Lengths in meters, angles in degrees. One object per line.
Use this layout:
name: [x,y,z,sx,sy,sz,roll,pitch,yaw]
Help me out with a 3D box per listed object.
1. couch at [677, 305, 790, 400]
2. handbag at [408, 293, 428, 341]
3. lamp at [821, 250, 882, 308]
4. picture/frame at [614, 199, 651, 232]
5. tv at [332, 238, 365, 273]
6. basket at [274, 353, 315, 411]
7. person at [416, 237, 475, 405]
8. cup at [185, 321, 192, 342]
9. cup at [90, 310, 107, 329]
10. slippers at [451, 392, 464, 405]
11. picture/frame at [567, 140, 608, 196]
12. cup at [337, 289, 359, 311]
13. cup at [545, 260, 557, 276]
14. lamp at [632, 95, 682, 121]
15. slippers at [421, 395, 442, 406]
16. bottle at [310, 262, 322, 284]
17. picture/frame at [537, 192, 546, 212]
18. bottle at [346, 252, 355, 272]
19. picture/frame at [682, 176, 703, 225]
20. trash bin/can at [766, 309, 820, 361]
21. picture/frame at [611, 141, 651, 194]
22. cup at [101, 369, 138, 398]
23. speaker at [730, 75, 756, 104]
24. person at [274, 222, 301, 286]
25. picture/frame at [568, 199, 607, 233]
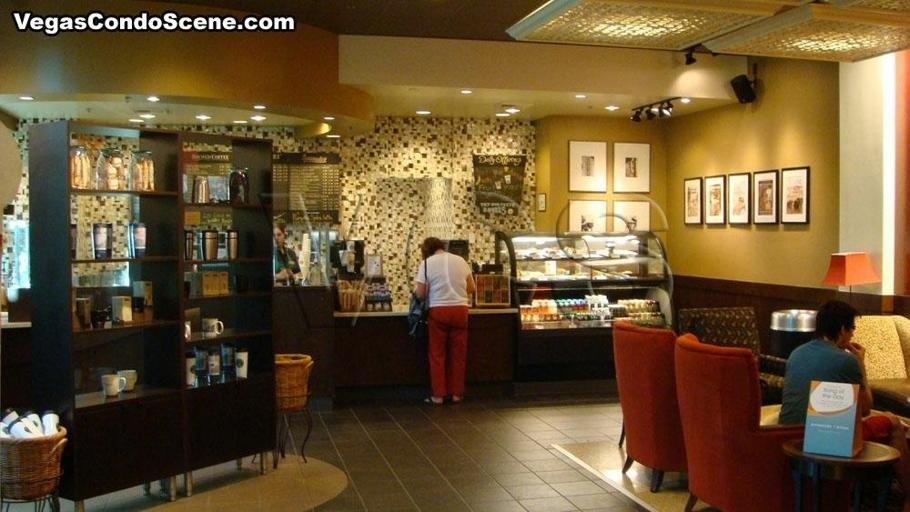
couch: [3.724,1.252,8.503,1.291,1.500,1.287,1,-6,-10]
handbag: [-0.543,0.875,9.411,0.253,0.689,0.315,-1,9,-5]
lamp: [5.116,0.272,8.477,0.682,0.815,0.664,-5,6,-18]
picture/frame: [3.031,-0.691,11.335,0.702,0.553,0.066,1,-21,-7]
tv: [-1.635,0.021,9.343,0.338,0.504,0.615,-1,1,42]
basket: [-1.866,1.488,7.756,0.591,0.416,0.591,1,-5,-7]
person: [-0.163,0.927,9.382,0.815,2.359,0.443,0,10,1]
cup: [-2.830,0.793,6.982,0.062,0.160,0.128,5,5,-3]
cup: [-3.493,0.625,6.471,0.172,0.151,0.158,1,4,0]
slippers: [0.015,2.047,9.466,0.118,0.134,0.361,-4,-9,5]
picture/frame: [2.293,-1.604,11.657,1.173,1.203,0.105,0,0,-17]
cup: [-1.521,0.632,9.517,0.337,0.305,0.318,0,1,0]
cup: [1.442,0.170,9.969,0.170,0.212,0.070,0,10,-1]
lamp: [3.356,-2.454,10.992,0.534,0.304,1.163,-3,9,-20]
slippers: [-0.316,2.080,9.428,0.333,0.115,0.096,7,5,14]
bottle: [-1.871,0.230,8.870,0.139,0.316,0.054,-4,10,-22]
picture/frame: [1.542,-0.979,11.784,0.036,0.423,0.397,2,-2,-23]
bottle: [-1.465,0.077,9.235,0.102,0.285,0.116,-2,10,-11]
picture/frame: [4.167,-0.963,11.443,0.068,0.755,0.471,-1,2,-20]
trash bin/can: [4.663,1.110,9.158,0.666,0.602,0.601,-1,0,-8]
picture/frame: [3.117,-1.627,11.872,1.125,1.160,0.096,0,1,-17]
cup: [-3.373,1.278,6.680,0.175,0.208,0.370,8,12,43]
speaker: [4.531,-2.641,10.387,0.393,0.423,0.224,3,10,19]
person: [-2.183,-0.010,8.398,0.329,0.885,0.748,-2,9,-7]
picture/frame: [2.320,-0.694,11.526,0.082,0.621,0.833,-5,7,-42]
